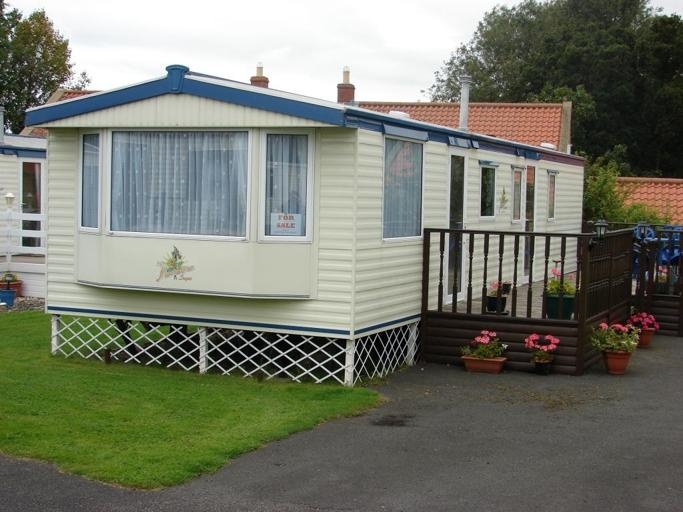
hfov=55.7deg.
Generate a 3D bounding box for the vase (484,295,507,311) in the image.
[{"bbox_3d":[2.504,0.767,10.421,0.336,0.243,0.341,1,-3,-2],"label":"vase"}]

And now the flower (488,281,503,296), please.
[{"bbox_3d":[2.626,0.583,11.176,0.333,0.252,0.351,0,0,-4],"label":"flower"}]

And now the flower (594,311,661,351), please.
[{"bbox_3d":[4.373,1.279,10.450,0.902,0.467,1.240,-1,-1,0],"label":"flower"}]

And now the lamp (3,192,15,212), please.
[{"bbox_3d":[-8.414,-1.378,16.355,0.263,0.490,1.541,-2,6,-27],"label":"lamp"}]

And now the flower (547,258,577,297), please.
[{"bbox_3d":[4.176,0.411,12.398,0.554,0.451,0.764,0,-4,6],"label":"flower"}]

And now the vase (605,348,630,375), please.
[{"bbox_3d":[4.188,1.601,9.835,0.365,0.277,0.372,1,-4,2],"label":"vase"}]

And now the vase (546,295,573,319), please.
[{"bbox_3d":[3.432,0.812,10.193,0.439,0.432,0.406,0,-1,11],"label":"vase"}]
